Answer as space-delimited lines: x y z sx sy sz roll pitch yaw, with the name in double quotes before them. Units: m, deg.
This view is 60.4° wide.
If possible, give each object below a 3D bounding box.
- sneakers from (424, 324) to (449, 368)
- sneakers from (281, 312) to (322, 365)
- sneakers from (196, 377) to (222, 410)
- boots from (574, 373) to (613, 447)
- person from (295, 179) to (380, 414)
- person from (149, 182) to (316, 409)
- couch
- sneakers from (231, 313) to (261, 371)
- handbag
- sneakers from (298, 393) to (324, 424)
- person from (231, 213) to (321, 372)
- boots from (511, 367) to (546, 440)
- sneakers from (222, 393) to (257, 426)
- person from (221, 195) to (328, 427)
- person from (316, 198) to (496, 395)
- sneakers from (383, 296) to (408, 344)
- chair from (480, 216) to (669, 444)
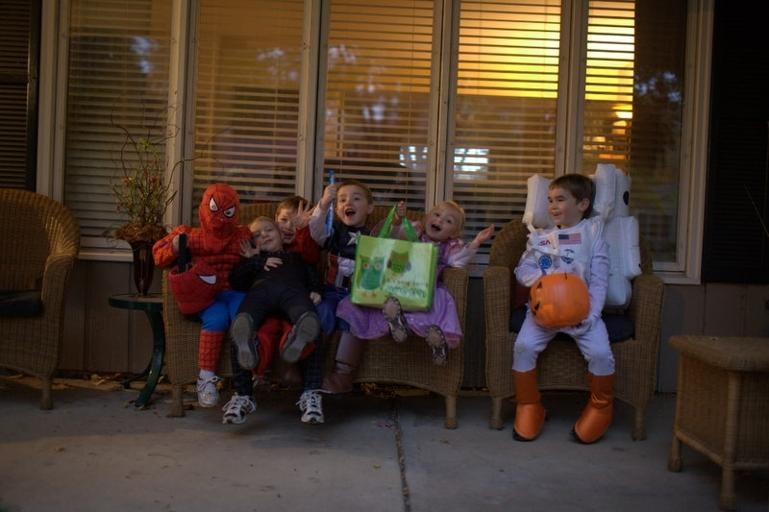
"sneakers" 0.298 0.511 3.777 0.100 0.236 0.099 -6 3 12
"sneakers" -0.458 0.447 3.689 0.163 0.299 0.135 33 -13 -8
"sneakers" -1.007 0.772 3.782 0.143 0.223 0.095 -3 -26 -19
"boots" 1.233 0.869 3.818 0.295 0.396 0.144 -6 14 -33
"person" -0.127 0.148 3.966 0.439 1.389 0.666 14 -28 -5
"person" -0.889 0.187 3.926 0.957 1.217 0.743 2 4 -2
"couch" -0.590 0.199 4.376 2.100 1.511 1.305 1 -4 -1
"sneakers" -0.758 0.482 3.666 0.130 0.312 0.141 -5 -11 8
"handbag" 0.063 -0.038 3.807 0.502 0.657 0.233 6 31 2
"sneakers" -0.426 0.887 3.820 0.128 0.240 0.268 0 12 -9
"person" -0.647 0.164 3.892 0.511 0.341 1.098 -7 38 -6
"boots" 0.839 0.849 3.872 0.155 0.327 0.429 -8 16 24
"sneakers" -0.824 0.881 3.787 0.136 0.110 0.242 0 0 7
"person" -0.638 0.304 3.987 0.504 1.314 0.689 2 -35 -10
"person" 0.212 0.133 4.161 0.896 0.685 1.453 9 32 18
"sneakers" 0.073 0.365 3.791 0.107 0.273 0.122 -14 -6 9
"chair" 1.153 0.424 4.358 1.199 1.369 1.187 3 -3 -5
